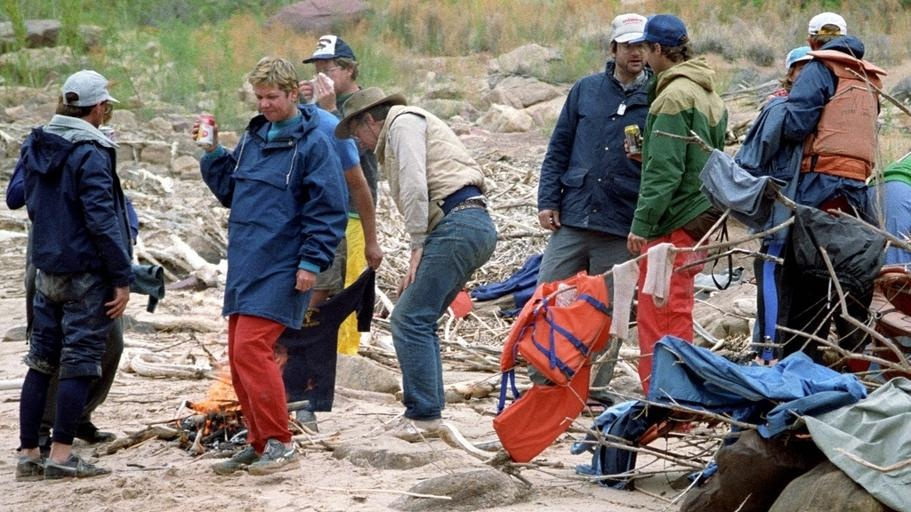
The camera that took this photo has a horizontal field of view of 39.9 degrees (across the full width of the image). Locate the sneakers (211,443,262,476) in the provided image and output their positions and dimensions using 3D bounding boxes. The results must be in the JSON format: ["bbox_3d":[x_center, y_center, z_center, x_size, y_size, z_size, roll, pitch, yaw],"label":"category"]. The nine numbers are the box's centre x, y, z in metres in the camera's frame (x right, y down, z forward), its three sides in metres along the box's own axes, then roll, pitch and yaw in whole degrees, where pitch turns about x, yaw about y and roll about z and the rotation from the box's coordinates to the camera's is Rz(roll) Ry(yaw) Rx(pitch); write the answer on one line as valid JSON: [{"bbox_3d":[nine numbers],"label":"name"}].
[{"bbox_3d":[-2.431,2.266,13.844,0.647,0.244,0.219,-3,9,-17],"label":"sneakers"}]

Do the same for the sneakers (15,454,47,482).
[{"bbox_3d":[-4.696,2.342,13.812,0.284,0.257,0.235,2,11,-22],"label":"sneakers"}]

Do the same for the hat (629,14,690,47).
[{"bbox_3d":[2.348,-2.605,14.549,0.533,0.249,0.338,13,31,30],"label":"hat"}]

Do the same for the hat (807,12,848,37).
[{"bbox_3d":[4.539,-2.808,15.311,0.520,0.264,0.376,-8,-3,22],"label":"hat"}]

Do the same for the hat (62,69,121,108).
[{"bbox_3d":[-4.097,-1.885,14.185,0.377,0.291,0.561,11,17,29],"label":"hat"}]

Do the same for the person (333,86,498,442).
[{"bbox_3d":[-0.521,0.079,14.459,1.531,3.890,1.034,11,12,26],"label":"person"}]

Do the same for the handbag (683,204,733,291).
[{"bbox_3d":[2.945,-0.096,14.761,0.633,0.772,0.772,-20,-20,18],"label":"handbag"}]

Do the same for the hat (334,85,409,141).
[{"bbox_3d":[-1.077,-1.714,14.619,0.726,0.255,0.608,-27,-8,-6],"label":"hat"}]
